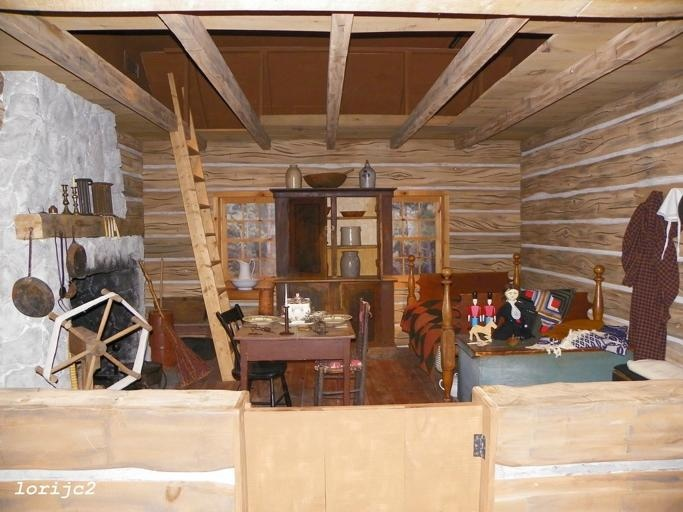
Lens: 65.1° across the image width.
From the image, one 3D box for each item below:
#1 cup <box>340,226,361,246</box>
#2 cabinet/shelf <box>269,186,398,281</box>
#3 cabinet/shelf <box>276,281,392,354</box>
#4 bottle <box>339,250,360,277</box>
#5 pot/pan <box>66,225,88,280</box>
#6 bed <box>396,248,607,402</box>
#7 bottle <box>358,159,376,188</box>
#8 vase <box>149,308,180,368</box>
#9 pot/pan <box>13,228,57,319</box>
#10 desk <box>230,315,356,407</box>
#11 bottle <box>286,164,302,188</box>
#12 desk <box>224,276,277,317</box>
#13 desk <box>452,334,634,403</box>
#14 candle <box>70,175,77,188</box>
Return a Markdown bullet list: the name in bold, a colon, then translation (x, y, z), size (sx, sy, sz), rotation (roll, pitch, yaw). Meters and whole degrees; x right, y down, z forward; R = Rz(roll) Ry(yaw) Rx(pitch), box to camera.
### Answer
- **cup**: translation (0.110, -0.257, 6.824), size (0.340, 0.228, 0.256), rotation (-1, 6, -13)
- **cabinet/shelf**: translation (-0.140, -0.275, 6.802), size (1.847, 1.232, 0.501), rotation (0, -1, -3)
- **cabinet/shelf**: translation (-0.104, 0.583, 5.475), size (1.249, 0.528, 0.387), rotation (0, 2, -2)
- **bottle**: translation (0.106, 0.106, 6.733), size (0.238, 0.333, 0.172), rotation (-1, -5, -4)
- **pot/pan**: translation (-2.320, -0.001, 4.654), size (0.089, 0.357, 0.265), rotation (-2, 2, 13)
- **bed**: translation (1.725, 0.541, 6.031), size (1.753, 0.819, 2.000), rotation (1, 4, -8)
- **bottle**: translation (0.325, -1.034, 6.780), size (0.183, 0.373, 0.137), rotation (-2, -5, 1)
- **vase**: translation (-2.087, 0.965, 6.190), size (0.309, 0.682, 0.452), rotation (0, -5, -17)
- **pot/pan**: translation (-2.417, 0.138, 4.241), size (0.166, 0.693, 0.285), rotation (-5, -6, 31)
- **desk**: translation (-0.419, 0.928, 4.619), size (0.993, 0.582, 0.623), rotation (1, 4, -6)
- **bottle**: translation (-0.605, -1.004, 6.745), size (0.183, 0.318, 0.119), rotation (-1, -5, 0)
- **desk**: translation (-0.985, 0.466, 6.219), size (0.892, 0.278, 0.569), rotation (0, 8, 3)
- **desk**: translation (1.464, 0.766, 3.759), size (0.800, 0.280, 0.356), rotation (-1, 12, -2)
- **candle**: translation (-2.422, -0.680, 4.830), size (0.055, 0.113, 0.127), rotation (0, -5, -17)
